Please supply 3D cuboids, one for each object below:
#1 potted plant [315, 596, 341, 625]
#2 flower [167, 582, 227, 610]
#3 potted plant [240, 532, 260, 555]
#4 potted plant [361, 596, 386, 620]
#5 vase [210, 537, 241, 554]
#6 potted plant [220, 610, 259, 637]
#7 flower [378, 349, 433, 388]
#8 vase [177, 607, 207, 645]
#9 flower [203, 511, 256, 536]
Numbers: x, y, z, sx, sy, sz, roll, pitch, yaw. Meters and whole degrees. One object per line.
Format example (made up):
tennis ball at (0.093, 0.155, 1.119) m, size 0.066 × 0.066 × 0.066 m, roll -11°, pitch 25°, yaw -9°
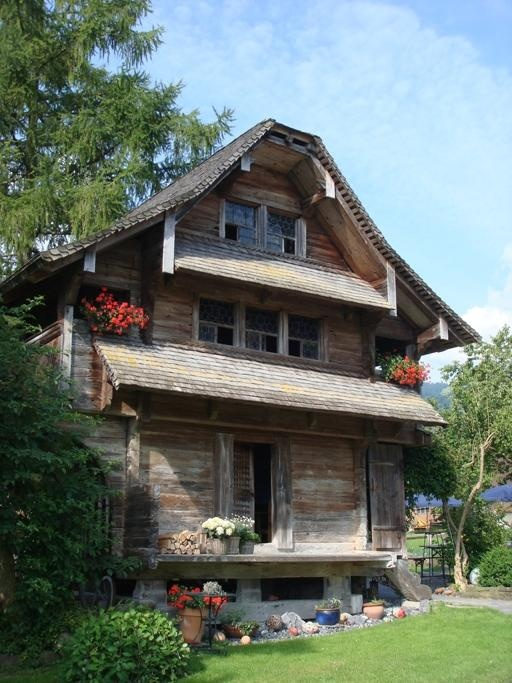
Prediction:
potted plant at (1.516, 5.575, 18.138) m, size 0.509 × 0.453 × 0.460 m, roll -6°, pitch -26°, yaw 18°
flower at (-1.055, 4.451, 15.197) m, size 0.790 × 0.350 × 0.782 m, roll 7°, pitch -11°, yaw -22°
potted plant at (-0.175, 3.961, 17.314) m, size 0.483 × 0.395 × 0.409 m, roll 4°, pitch -11°, yaw -15°
potted plant at (2.559, 5.805, 19.039) m, size 0.410 × 0.306 × 0.383 m, roll -2°, pitch -15°, yaw 5°
vase at (-0.610, 3.886, 16.732) m, size 0.598 × 0.324 × 0.358 m, roll 2°, pitch -15°, yaw -12°
potted plant at (-0.305, 5.217, 16.290) m, size 0.594 × 0.286 × 0.495 m, roll 8°, pitch -17°, yaw -9°
flower at (3.645, 0.704, 22.201) m, size 1.309 × 0.929 × 0.697 m, roll 0°, pitch -15°, yaw -4°
vase at (-1.115, 4.883, 15.188) m, size 0.599 × 0.554 × 0.594 m, roll 11°, pitch -16°, yaw -42°
flower at (-0.501, 3.509, 16.888) m, size 0.888 × 0.329 × 0.534 m, roll 4°, pitch -8°, yaw -26°
